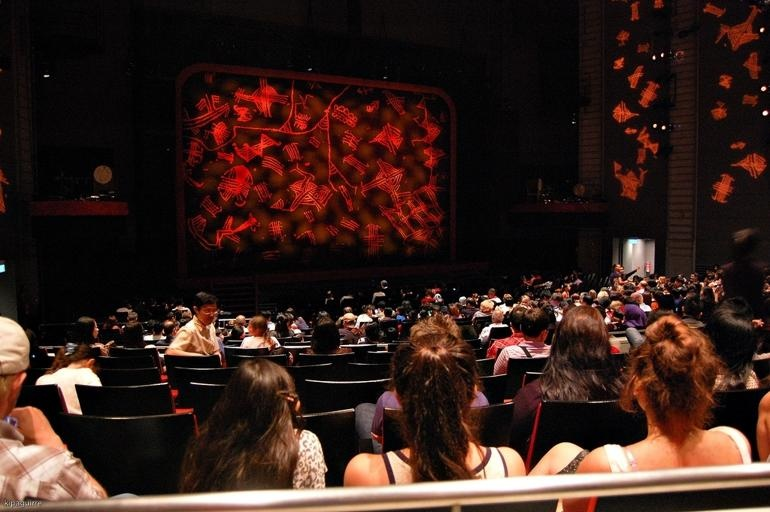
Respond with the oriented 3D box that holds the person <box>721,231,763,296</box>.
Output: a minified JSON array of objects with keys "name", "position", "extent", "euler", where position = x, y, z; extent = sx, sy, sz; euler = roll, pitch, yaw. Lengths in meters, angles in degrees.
[{"name":"person","position":[4.668,0.113,7.124],"extent":[0.440,0.895,0.592],"euler":[0,3,32]}]

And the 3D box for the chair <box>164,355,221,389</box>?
[{"name":"chair","position":[-1.880,1.152,5.406],"extent":[0.331,0.448,0.366],"euler":[3,15,3]}]

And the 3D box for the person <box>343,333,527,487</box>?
[{"name":"person","position":[0.279,0.968,2.976],"extent":[1.067,0.932,0.510],"euler":[-4,11,-6]}]

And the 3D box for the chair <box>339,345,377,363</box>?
[{"name":"chair","position":[-0.331,1.218,6.956],"extent":[0.310,0.328,0.294],"euler":[2,-1,31]}]

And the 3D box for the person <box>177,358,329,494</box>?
[{"name":"person","position":[-0.816,1.070,3.375],"extent":[0.944,0.931,0.526],"euler":[4,16,-2]}]

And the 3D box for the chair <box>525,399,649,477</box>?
[{"name":"chair","position":[1.307,1.167,3.629],"extent":[0.449,0.592,0.512],"euler":[2,2,0]}]

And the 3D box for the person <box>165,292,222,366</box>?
[{"name":"person","position":[-2.273,0.911,6.784],"extent":[0.514,0.838,0.887],"euler":[1,0,15]}]

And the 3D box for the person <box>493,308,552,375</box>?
[{"name":"person","position":[1.396,0.988,5.272],"extent":[0.629,0.893,0.470],"euler":[2,-10,14]}]
